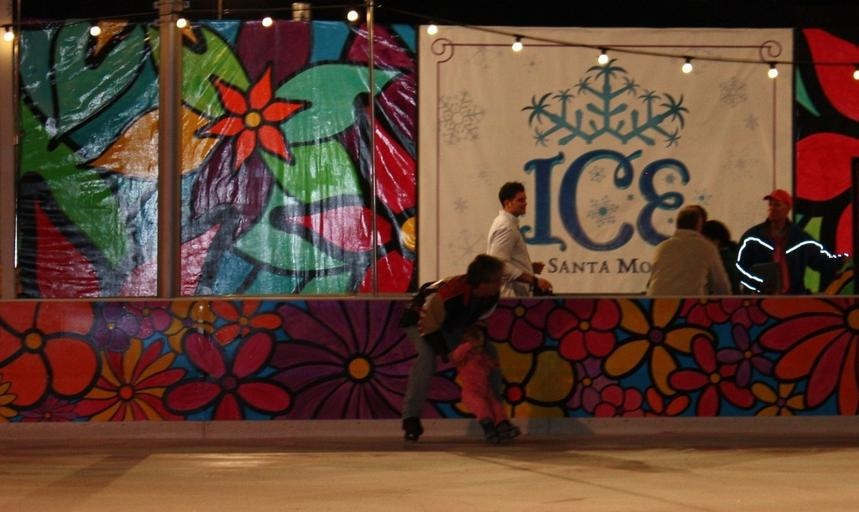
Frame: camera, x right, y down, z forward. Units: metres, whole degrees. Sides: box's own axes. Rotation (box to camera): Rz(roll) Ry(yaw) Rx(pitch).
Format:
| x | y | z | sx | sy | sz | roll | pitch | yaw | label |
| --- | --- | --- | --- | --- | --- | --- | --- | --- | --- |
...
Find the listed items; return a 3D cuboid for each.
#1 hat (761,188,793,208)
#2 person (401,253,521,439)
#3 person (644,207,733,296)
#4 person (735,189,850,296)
| x | y | z | sx | sy | sz | roll | pitch | yaw | label |
| --- | --- | --- | --- | --- | --- | --- | --- | --- | --- |
| 3.450 | -0.587 | 12.604 | 0.234 | 0.118 | 0.162 | 22 | 0 | -13 | hat |
| 0.259 | 0.769 | 11.805 | 1.220 | 1.659 | 0.967 | 1 | 20 | -17 | person |
| 2.488 | -0.058 | 12.166 | 0.762 | 0.829 | 0.436 | 2 | 5 | 9 | person |
| 3.624 | -0.115 | 12.540 | 1.108 | 1.166 | 0.605 | 0 | -4 | 15 | person |
